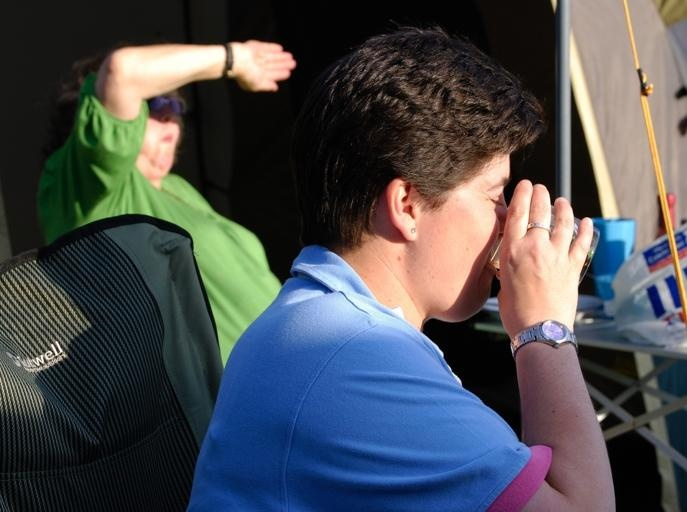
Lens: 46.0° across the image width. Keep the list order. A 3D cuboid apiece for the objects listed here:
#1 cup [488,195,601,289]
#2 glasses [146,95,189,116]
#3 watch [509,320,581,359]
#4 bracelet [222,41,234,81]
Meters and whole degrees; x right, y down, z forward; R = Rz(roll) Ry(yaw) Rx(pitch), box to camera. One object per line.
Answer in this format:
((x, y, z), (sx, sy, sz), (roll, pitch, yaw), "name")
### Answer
((0.418, -0.030, 1.735), (0.167, 0.201, 0.176), (2, -1, 0), "cup")
((-0.493, -0.412, 2.239), (0.062, 0.024, 0.064), (-9, -6, 28), "glasses")
((0.388, 0.154, 1.566), (0.096, 0.069, 0.100), (3, -26, -2), "watch")
((-0.331, -0.554, 2.320), (0.023, 0.077, 0.061), (-3, -10, 6), "bracelet")
